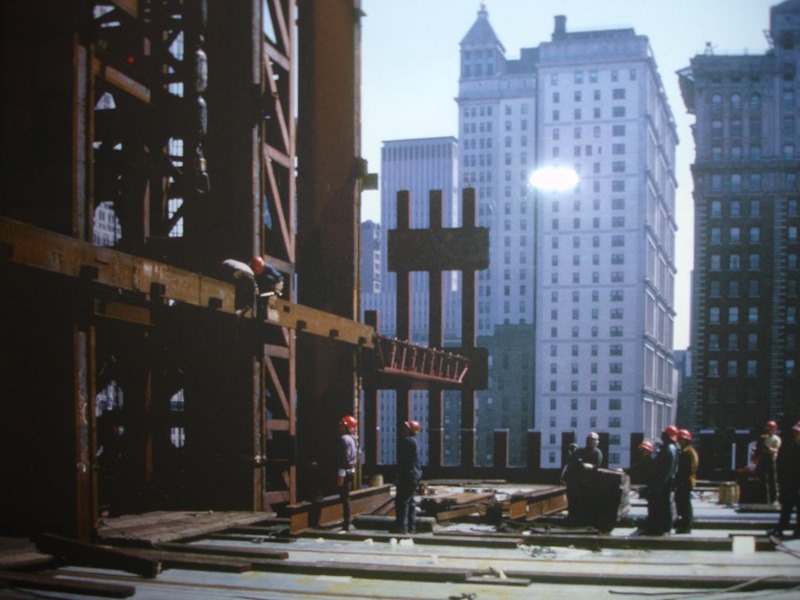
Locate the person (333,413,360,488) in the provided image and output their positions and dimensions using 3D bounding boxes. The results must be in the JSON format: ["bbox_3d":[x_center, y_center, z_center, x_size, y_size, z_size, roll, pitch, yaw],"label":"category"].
[{"bbox_3d":[-1.275,3.634,36.255,0.511,1.736,1.433,0,-9,-3],"label":"person"}]

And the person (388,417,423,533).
[{"bbox_3d":[0.161,4.225,36.132,0.599,2.747,1.574,-1,-9,0],"label":"person"}]

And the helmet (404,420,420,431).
[{"bbox_3d":[0.304,3.025,36.066,0.356,0.270,0.262,-2,-1,38],"label":"helmet"}]

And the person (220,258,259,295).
[{"bbox_3d":[-3.680,-0.549,34.495,0.831,0.810,0.519,0,-9,-7],"label":"person"}]
